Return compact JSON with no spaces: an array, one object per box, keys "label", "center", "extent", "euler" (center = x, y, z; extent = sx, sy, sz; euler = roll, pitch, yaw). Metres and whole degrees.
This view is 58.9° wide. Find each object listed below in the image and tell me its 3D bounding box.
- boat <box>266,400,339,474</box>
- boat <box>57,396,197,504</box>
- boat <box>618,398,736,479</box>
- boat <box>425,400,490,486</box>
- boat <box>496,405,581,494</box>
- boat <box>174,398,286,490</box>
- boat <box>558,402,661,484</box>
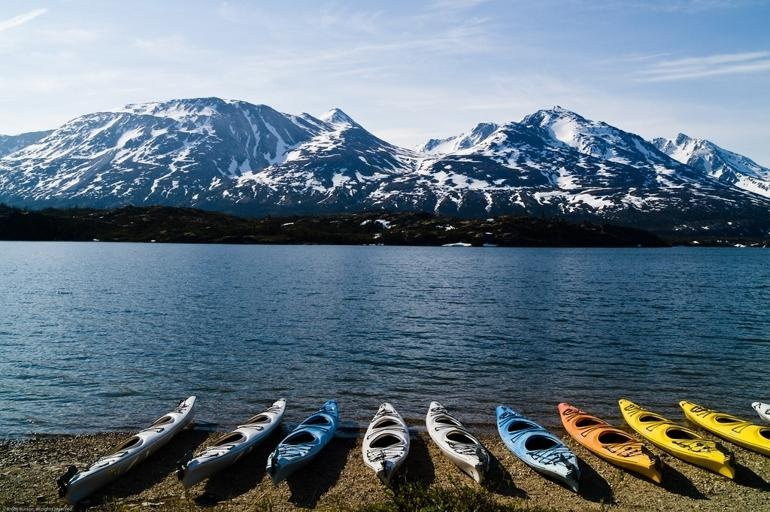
[{"label":"boat","center":[-8.711,20.436,75.814],"extent":[4.197,1.470,9.861],"euler":[14,20,21]},{"label":"boat","center":[-28.585,21.183,75.733],"extent":[5.561,3.102,16.657],"euler":[24,31,33]},{"label":"boat","center":[24.866,20.397,76.724],"extent":[6.405,2.052,14.485],"euler":[-9,21,-28]},{"label":"boat","center":[7.714,20.283,76.064],"extent":[4.609,1.711,9.971],"euler":[-2,13,-14]},{"label":"boat","center":[16.693,20.974,74.480],"extent":[5.410,1.440,11.168],"euler":[-7,14,-16]},{"label":"boat","center":[-16.258,20.471,75.966],"extent":[4.815,2.111,14.588],"euler":[20,23,29]},{"label":"boat","center":[24.316,20.273,76.280],"extent":[5.274,1.684,11.431],"euler":[-10,18,-21]}]
